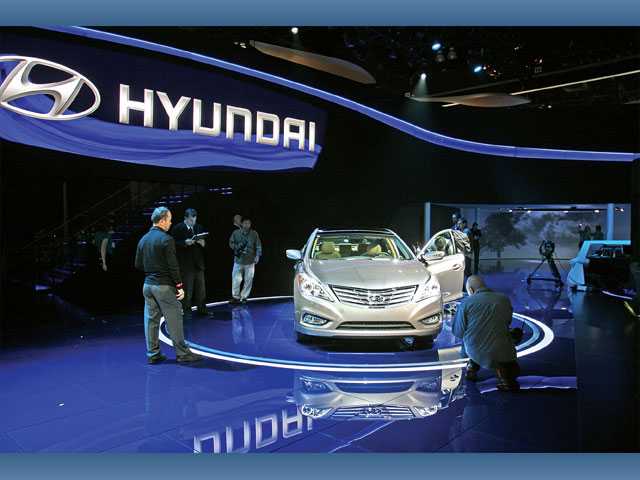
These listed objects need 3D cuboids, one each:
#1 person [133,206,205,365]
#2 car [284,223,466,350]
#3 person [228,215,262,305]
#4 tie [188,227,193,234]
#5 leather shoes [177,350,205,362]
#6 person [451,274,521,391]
[{"bbox_3d":[-2.093,0.601,6.216,0.644,2.098,0.513,-2,2,-27],"label":"person"},{"bbox_3d":[0.970,0.552,8.129,3.079,1.640,4.048,0,3,-12],"label":"car"},{"bbox_3d":[-1.410,0.414,8.775,0.599,1.597,0.624,-1,2,-14],"label":"person"},{"bbox_3d":[-2.183,-0.167,7.877,0.059,0.093,0.094,-2,1,1],"label":"tie"},{"bbox_3d":[-1.747,1.565,6.289,0.351,0.240,0.132,-1,2,-18],"label":"leather shoes"},{"bbox_3d":[2.034,1.127,5.729,0.761,1.362,0.318,0,2,23],"label":"person"}]
